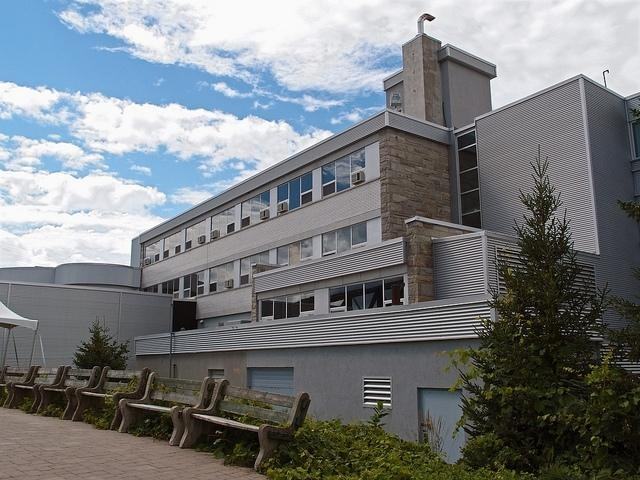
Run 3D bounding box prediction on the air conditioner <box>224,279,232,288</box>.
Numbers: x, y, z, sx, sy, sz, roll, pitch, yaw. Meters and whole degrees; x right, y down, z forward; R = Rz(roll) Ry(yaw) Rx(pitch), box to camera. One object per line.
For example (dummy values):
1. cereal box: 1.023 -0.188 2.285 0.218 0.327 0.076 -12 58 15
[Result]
1. air conditioner: -5.401 2.551 32.071 0.231 0.376 0.424 15 -25 -33
